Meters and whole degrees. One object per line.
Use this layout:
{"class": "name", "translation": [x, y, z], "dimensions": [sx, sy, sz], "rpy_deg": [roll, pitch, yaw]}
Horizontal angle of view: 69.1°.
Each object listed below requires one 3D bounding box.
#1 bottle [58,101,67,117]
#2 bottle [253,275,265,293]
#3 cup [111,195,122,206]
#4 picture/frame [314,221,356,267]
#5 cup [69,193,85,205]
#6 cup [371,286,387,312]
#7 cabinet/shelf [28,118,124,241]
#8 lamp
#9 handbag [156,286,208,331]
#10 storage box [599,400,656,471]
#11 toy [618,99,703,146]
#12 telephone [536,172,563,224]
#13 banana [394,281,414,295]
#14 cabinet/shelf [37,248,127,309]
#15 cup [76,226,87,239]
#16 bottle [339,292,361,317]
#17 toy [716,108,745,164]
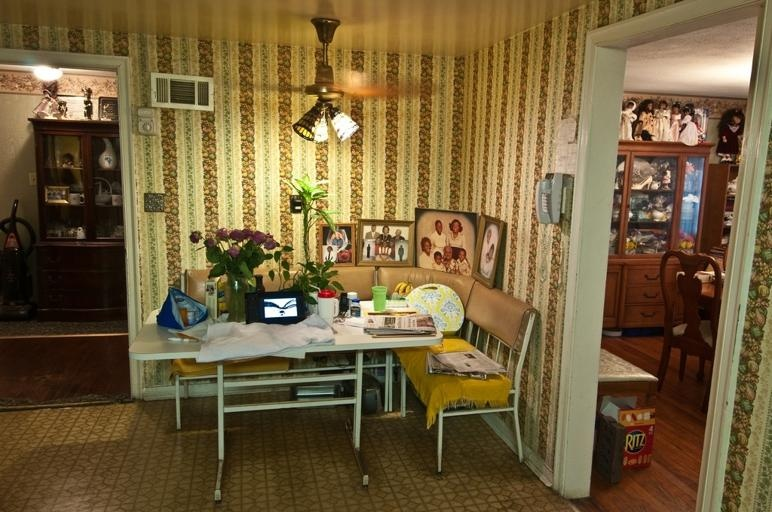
{"class": "bottle", "translation": [-4.006, -1.800, 6.952], "dimensions": [0.128, 0.174, 0.069], "rpy_deg": [1, -1, -6]}
{"class": "bottle", "translation": [-0.965, 0.219, 4.235], "dimensions": [0.088, 0.197, 0.086], "rpy_deg": [0, 11, 0]}
{"class": "cup", "translation": [-3.328, -0.667, 6.908], "dimensions": [0.169, 0.159, 0.130], "rpy_deg": [-1, 7, -28]}
{"class": "picture/frame", "translation": [-0.494, -0.107, 5.222], "dimensions": [0.434, 0.486, 0.035], "rpy_deg": [1, 1, -14]}
{"class": "cup", "translation": [-3.748, -0.677, 6.797], "dimensions": [0.185, 0.123, 0.117], "rpy_deg": [3, 3, -32]}
{"class": "cup", "translation": [-0.054, 0.349, 4.597], "dimensions": [0.171, 0.187, 0.175], "rpy_deg": [0, 3, 0]}
{"class": "cabinet/shelf", "translation": [-3.702, -0.897, 6.796], "dimensions": [0.936, 1.436, 0.296], "rpy_deg": [0, 11, -4]}
{"class": "lamp", "translation": [-0.512, -1.419, 4.729], "dimensions": [0.521, 0.918, 0.772], "rpy_deg": [0, 11, -5]}
{"class": "handbag", "translation": [-1.434, 0.371, 4.012], "dimensions": [0.310, 0.294, 0.305], "rpy_deg": [2, 5, -5]}
{"class": "storage box", "translation": [1.893, 1.379, 4.313], "dimensions": [0.475, 0.497, 0.330], "rpy_deg": [0, 11, -4]}
{"class": "toy", "translation": [3.401, -1.614, 6.800], "dimensions": [1.406, 0.574, 0.400], "rpy_deg": [-2, 11, -12]}
{"class": "telephone", "translation": [1.197, -0.400, 4.090], "dimensions": [0.120, 0.387, 0.222], "rpy_deg": [-3, 11, -19]}
{"class": "banana", "translation": [0.152, 0.304, 5.101], "dimensions": [0.103, 0.050, 0.138], "rpy_deg": [16, 36, 32]}
{"class": "cabinet/shelf", "translation": [-3.740, 0.255, 7.154], "dimensions": [1.259, 0.931, 0.788], "rpy_deg": [0, 3, -3]}
{"class": "cup", "translation": [-3.716, -0.260, 6.837], "dimensions": [0.126, 0.168, 0.128], "rpy_deg": [-3, 2, 0]}
{"class": "bottle", "translation": [-0.275, 0.397, 4.457], "dimensions": [0.213, 0.207, 0.125], "rpy_deg": [-3, -4, 40]}
{"class": "toy", "translation": [4.400, -1.510, 7.124], "dimensions": [0.361, 0.678, 0.184], "rpy_deg": [-1, 11, -6]}
